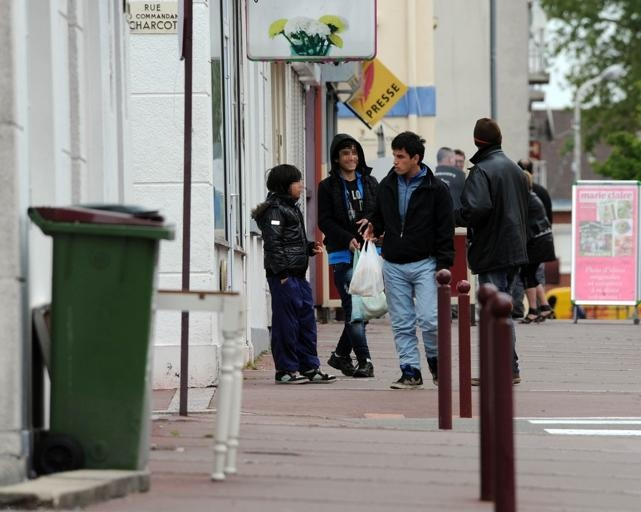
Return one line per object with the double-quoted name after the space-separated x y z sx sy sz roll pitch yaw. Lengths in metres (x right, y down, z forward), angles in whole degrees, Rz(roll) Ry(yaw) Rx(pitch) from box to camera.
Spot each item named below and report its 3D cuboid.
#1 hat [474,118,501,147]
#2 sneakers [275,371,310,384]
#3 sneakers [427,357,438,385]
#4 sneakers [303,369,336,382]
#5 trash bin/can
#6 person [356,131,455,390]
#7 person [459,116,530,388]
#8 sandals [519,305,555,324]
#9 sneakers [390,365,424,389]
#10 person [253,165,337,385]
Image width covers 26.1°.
1.417 -1.031 11.708 0.182 0.259 0.262 -6 9 -18 "hat"
-0.245 1.019 11.845 0.273 0.143 0.113 1 -2 3 "sneakers"
0.938 0.930 11.480 0.080 0.293 0.115 -10 3 6 "sneakers"
-0.019 1.034 11.983 0.296 0.144 0.114 0 1 -9 "sneakers"
-1.255 0.322 7.674 0.901 1.574 0.938 5 17 1 "trash bin/can"
0.751 0.024 11.492 0.737 2.112 0.423 -2 -2 13 "person"
1.455 -0.428 11.573 0.604 1.484 0.463 -1 -2 0 "person"
2.906 0.784 18.528 0.207 0.266 0.622 -7 -7 35 "sandals"
0.726 1.003 11.448 0.316 0.209 0.125 0 -4 2 "sneakers"
-0.269 0.157 11.806 0.601 1.846 0.291 1 -3 -44 "person"
